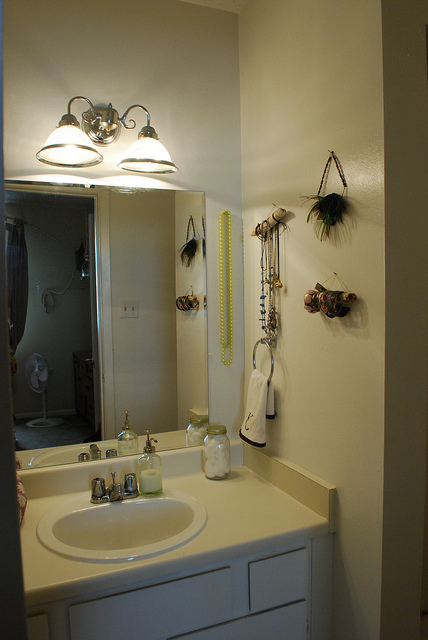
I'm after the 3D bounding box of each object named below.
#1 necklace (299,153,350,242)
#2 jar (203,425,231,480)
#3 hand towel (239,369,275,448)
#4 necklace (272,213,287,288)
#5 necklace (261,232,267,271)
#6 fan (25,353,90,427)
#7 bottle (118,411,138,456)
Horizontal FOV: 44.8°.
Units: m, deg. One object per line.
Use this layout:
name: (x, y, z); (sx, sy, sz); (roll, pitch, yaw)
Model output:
necklace: (0.285, -0.316, 1.379); (0.046, 0.215, 0.237); (-1, 5, -10)
jar: (0.011, 0.438, 1.768); (0.095, 0.187, 0.172); (0, 5, 1)
hand towel: (0.137, 0.288, 1.704); (0.068, 0.224, 0.156); (4, 5, -21)
necklace: (0.198, -0.213, 1.615); (0.037, 0.224, 0.058); (-1, 4, -8)
necklace: (0.167, -0.230, 1.722); (0.011, 0.124, 0.012); (5, -13, 4)
fan: (-0.532, 0.215, 1.626); (0.111, 0.225, 0.114); (-6, 4, -42)
bottle: (-0.281, 0.368, 1.703); (0.066, 0.136, 0.033); (-2, 5, -18)
